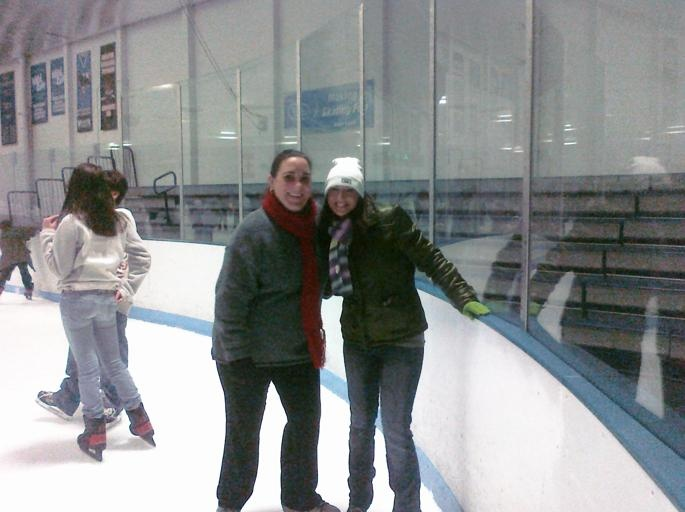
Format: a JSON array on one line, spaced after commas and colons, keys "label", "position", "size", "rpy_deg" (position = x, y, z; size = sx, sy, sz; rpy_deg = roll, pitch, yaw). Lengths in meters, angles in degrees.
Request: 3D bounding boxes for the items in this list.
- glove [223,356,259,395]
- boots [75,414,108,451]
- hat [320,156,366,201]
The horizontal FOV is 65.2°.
[{"label": "glove", "position": [-0.475, 0.535, 2.406], "size": [0.129, 0.106, 0.133], "rpy_deg": [0, -2, -2]}, {"label": "boots", "position": [-1.619, 1.124, 3.420], "size": [0.246, 0.258, 0.103], "rpy_deg": [9, 5, 29]}, {"label": "hat", "position": [0.021, -0.377, 2.591], "size": [0.174, 0.191, 0.194], "rpy_deg": [3, -14, -1]}]
